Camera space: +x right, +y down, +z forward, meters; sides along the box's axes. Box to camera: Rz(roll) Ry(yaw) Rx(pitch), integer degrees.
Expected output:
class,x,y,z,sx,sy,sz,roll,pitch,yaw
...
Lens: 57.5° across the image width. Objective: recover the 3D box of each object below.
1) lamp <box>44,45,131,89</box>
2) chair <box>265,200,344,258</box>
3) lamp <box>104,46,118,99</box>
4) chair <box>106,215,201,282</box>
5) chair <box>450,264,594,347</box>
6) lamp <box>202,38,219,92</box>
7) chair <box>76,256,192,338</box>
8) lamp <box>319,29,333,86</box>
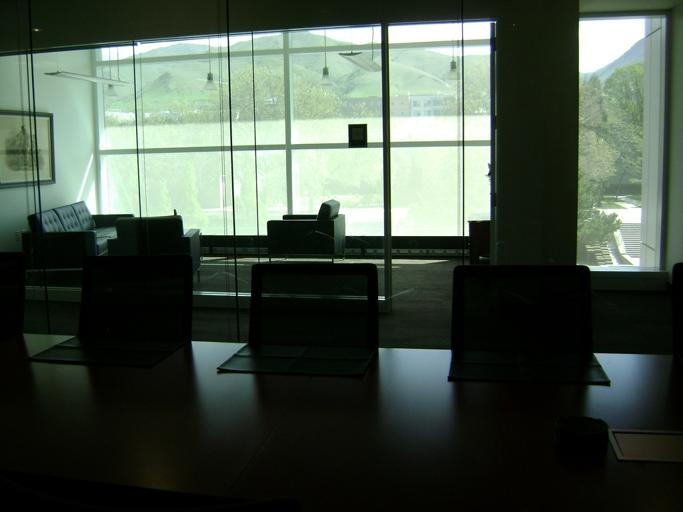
class,x,y,z,sx,sy,sz,roll,pitch,yaw
lamp,-2.243,-1.702,5.716,0.954,0.394,0.293,9,12,6
chair,-0.349,-0.229,5.784,0.754,0.511,0.749,3,7,25
lamp,-2.045,-1.635,5.555,0.155,0.427,0.059,5,8,42
chair,-1.827,-0.144,6.037,0.764,0.675,0.570,0,23,-10
chair,0.744,0.247,2.576,0.657,0.406,0.537,-1,-1,2
lamp,-1.117,-1.621,5.303,0.102,0.427,0.041,3,7,28
chair,-0.989,0.217,3.032,0.591,0.421,0.388,1,4,5
lamp,-0.135,-1.673,5.259,0.069,0.455,0.029,-1,6,-1
